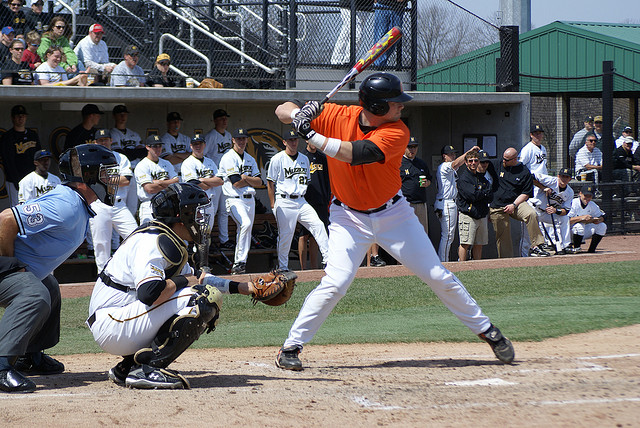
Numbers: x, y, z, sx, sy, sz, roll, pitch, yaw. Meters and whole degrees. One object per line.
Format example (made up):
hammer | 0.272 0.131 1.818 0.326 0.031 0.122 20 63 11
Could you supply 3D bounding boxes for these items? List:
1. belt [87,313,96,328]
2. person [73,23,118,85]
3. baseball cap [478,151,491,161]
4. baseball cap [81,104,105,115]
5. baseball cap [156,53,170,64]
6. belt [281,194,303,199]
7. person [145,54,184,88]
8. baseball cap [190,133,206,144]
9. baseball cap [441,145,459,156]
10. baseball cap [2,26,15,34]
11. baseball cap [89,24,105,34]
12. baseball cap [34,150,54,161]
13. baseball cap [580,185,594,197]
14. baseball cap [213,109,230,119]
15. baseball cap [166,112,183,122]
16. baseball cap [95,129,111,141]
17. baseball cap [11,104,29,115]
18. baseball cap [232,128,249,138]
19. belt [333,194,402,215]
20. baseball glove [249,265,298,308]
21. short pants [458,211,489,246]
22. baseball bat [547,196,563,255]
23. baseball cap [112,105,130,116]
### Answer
belt | -2.353 1.087 10.020 0.133 0.144 0.026 2 3 44
person | -3.685 -2.656 15.854 0.641 0.849 0.618 0 2 -18
baseball cap | 2.663 -0.947 15.845 0.177 0.158 0.255 1 2 15
baseball cap | -3.506 -1.607 14.962 0.265 0.132 0.163 -13 11 -23
baseball cap | -2.590 -2.562 16.046 0.205 0.162 0.291 0 2 -9
belt | -0.473 -0.269 14.883 0.248 0.066 0.034 0 2 -4
person | -2.638 -2.397 16.241 0.420 0.395 0.792 15 14 -31
baseball cap | -1.922 -1.179 15.297 0.300 0.134 0.420 0 1 -8
baseball cap | 2.130 -1.061 16.067 0.228 0.121 0.159 -14 6 15
baseball cap | -4.844 -2.853 15.119 0.176 0.139 0.229 0 2 -17
baseball cap | -3.668 -3.039 15.921 0.211 0.162 0.294 0 2 -14
baseball cap | -4.045 -0.859 14.174 0.218 0.155 0.368 -1 2 -20
baseball cap | 4.603 -0.412 16.793 0.199 0.182 0.297 1 2 15
baseball cap | -1.665 -1.663 16.107 0.274 0.138 0.200 -16 -2 23
baseball cap | -2.381 -1.599 15.900 0.226 0.106 0.159 -10 8 -9
baseball cap | -3.201 -1.164 14.335 0.225 0.174 0.269 0 2 -14
baseball cap | -4.639 -1.583 14.864 0.191 0.139 0.258 0 -3 -45
baseball cap | -1.270 -1.285 15.193 0.177 0.117 0.232 0 -2 -19
belt | 0.502 -0.103 10.420 0.703 0.205 0.175 0 2 0
baseball glove | -0.505 0.788 10.372 0.471 0.384 0.257 0 2 -8
short pants | 2.494 0.234 15.829 0.498 0.570 0.271 -1 2 -38
baseball bat | 3.979 0.148 16.488 0.107 1.006 0.102 -15 -10 39
baseball cap | -3.182 -1.646 15.445 0.188 0.093 0.133 -13 4 -1
